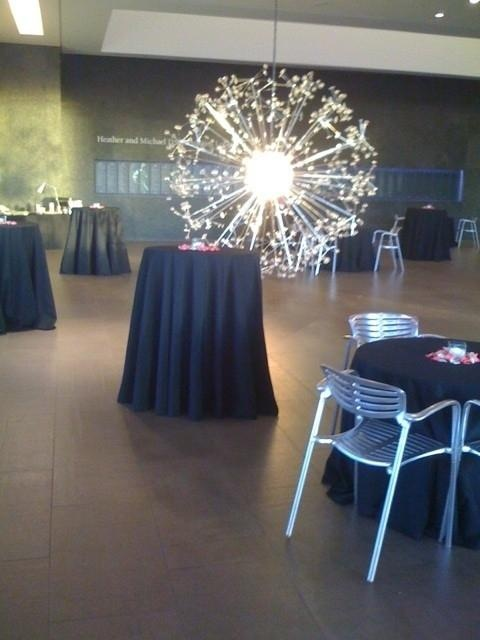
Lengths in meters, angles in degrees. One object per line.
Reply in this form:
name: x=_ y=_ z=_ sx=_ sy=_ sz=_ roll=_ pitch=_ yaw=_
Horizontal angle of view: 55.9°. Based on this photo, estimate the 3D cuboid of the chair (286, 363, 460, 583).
chair: x=0.376 y=0.388 z=1.297 sx=0.430 sy=0.533 sz=0.359 roll=8 pitch=10 yaw=44

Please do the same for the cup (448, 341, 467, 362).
cup: x=0.701 y=0.100 z=1.458 sx=0.051 sy=0.074 sz=0.054 roll=1 pitch=-2 yaw=0

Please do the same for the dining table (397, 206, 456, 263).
dining table: x=3.591 y=-1.630 z=8.805 sx=0.956 sy=1.192 sz=0.987 roll=3 pitch=5 yaw=16

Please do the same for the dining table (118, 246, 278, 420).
dining table: x=-0.189 y=-0.094 z=2.407 sx=0.748 sy=0.904 sz=0.734 roll=3 pitch=13 yaw=0

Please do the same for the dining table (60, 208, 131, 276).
dining table: x=-2.076 y=-1.099 z=6.618 sx=0.847 sy=1.022 sz=0.866 roll=0 pitch=7 yaw=-4

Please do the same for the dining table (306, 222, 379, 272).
dining table: x=1.819 y=-1.021 z=7.248 sx=0.730 sy=0.705 sz=0.654 roll=0 pitch=4 yaw=-13
